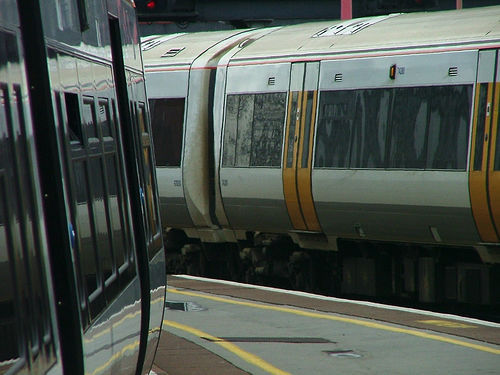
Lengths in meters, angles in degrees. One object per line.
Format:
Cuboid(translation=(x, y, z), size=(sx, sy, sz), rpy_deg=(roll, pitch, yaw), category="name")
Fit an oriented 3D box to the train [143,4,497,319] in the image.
Cuboid(translation=(0.855, -0.381, 11.608), size=(5.719, 4.198, 1.316), rpy_deg=(3, 6, 33), category="train")
